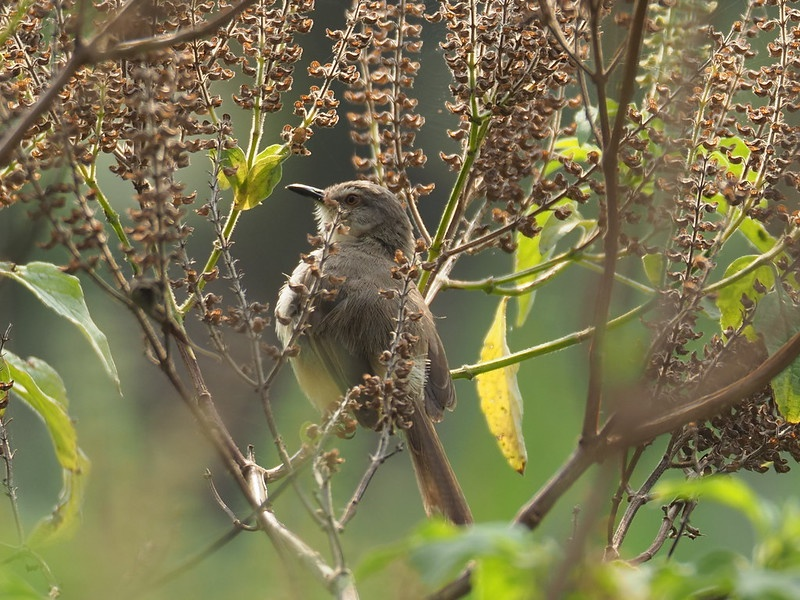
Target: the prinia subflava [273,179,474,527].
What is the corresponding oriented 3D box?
[{"bbox_3d":[-0.079,0.181,4.424,0.568,1.048,1.415,0,19,-27],"label":"prinia subflava"}]
